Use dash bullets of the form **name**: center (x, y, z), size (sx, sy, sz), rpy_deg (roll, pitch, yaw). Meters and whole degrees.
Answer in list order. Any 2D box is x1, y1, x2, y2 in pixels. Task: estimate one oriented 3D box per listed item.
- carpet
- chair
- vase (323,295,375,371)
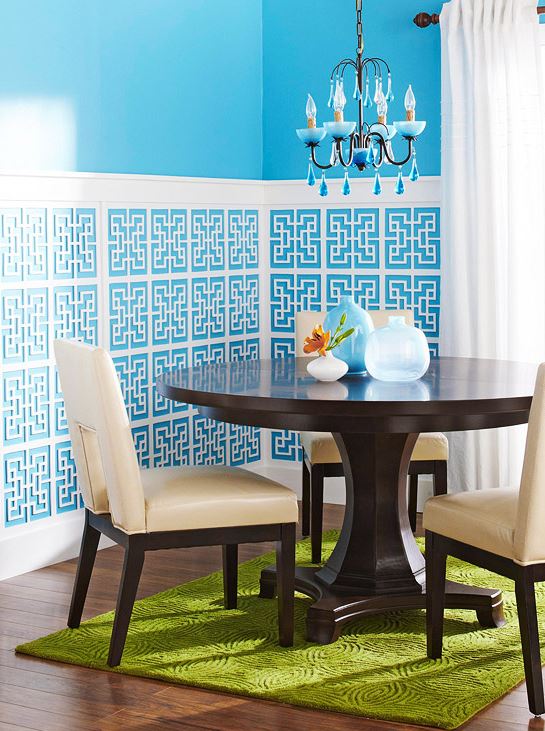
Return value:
- **carpet**: center (0.129, 0.722, 1.822), size (1.122, 0.048, 1.054), rpy_deg (-4, -7, 32)
- **chair**: center (0.068, 0.292, 1.701), size (1.079, 0.740, 0.905), rpy_deg (-2, 5, -17)
- **vase**: center (0.249, -0.111, 2.027), size (0.139, 0.217, 0.136), rpy_deg (5, 26, 35)
